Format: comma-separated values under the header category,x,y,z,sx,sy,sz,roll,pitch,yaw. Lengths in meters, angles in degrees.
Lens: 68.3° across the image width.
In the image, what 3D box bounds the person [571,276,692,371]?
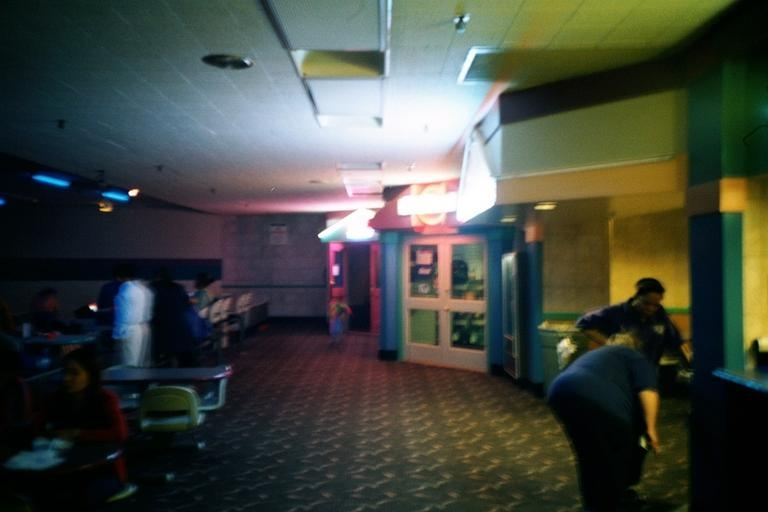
category,x,y,z,sx,sy,sz,roll,pitch,yaw
person,3.101,0.837,6.956,1.440,1.499,0.511,-2,14,9

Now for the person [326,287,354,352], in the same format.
category,x,y,z,sx,sy,sz,roll,pitch,yaw
person,-1.198,1.811,14.576,0.639,1.343,0.542,5,5,10

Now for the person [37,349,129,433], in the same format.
category,x,y,z,sx,sy,sz,roll,pitch,yaw
person,-3.078,1.431,5.732,0.751,0.920,0.451,-4,8,-27
